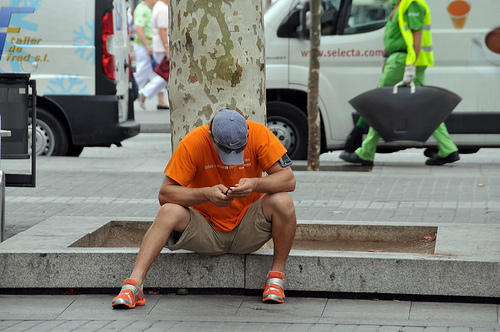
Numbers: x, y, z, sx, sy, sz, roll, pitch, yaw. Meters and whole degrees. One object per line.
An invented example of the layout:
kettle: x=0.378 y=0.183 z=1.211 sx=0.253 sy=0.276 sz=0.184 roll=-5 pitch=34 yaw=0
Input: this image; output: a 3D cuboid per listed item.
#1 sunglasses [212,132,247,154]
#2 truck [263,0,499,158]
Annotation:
sunglasses: x=-0.156 y=-0.156 z=5.759 sx=0.235 sy=0.123 sz=0.061 roll=-4 pitch=9 yaw=-9
truck: x=2.130 y=-1.529 z=11.880 sx=3.620 sy=2.437 sz=2.318 roll=0 pitch=-1 yaw=6
